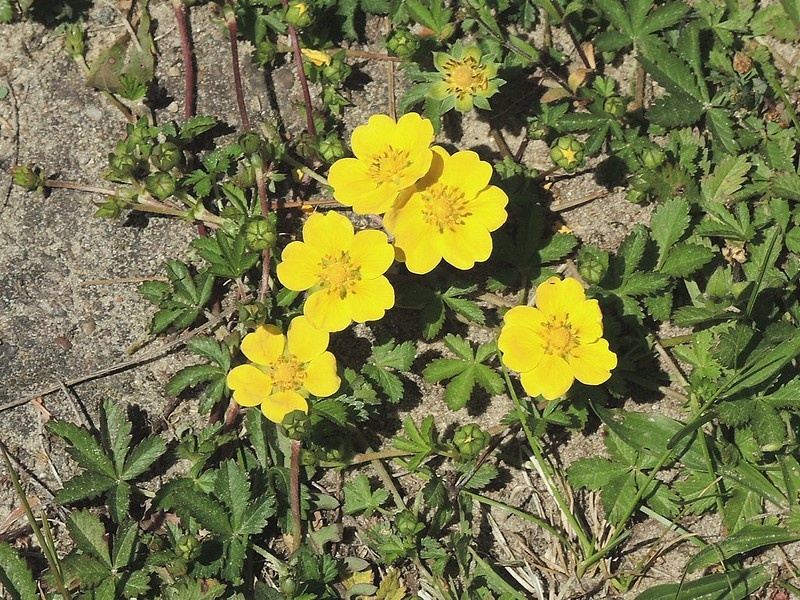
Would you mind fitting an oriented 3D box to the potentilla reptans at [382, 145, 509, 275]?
[{"bbox_3d":[0.229,-0.396,3.907,0.484,0.384,0.484,33,56,15],"label":"potentilla reptans"}]

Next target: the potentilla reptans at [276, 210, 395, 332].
[{"bbox_3d":[-0.263,-0.158,3.969,0.496,0.585,0.153,-11,36,30],"label":"potentilla reptans"}]

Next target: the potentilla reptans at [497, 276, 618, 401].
[{"bbox_3d":[0.702,0.196,3.807,0.434,0.325,0.473,-24,61,-24],"label":"potentilla reptans"}]

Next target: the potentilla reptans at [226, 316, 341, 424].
[{"bbox_3d":[-0.544,0.323,3.930,0.484,0.278,0.387,-15,58,-19],"label":"potentilla reptans"}]
